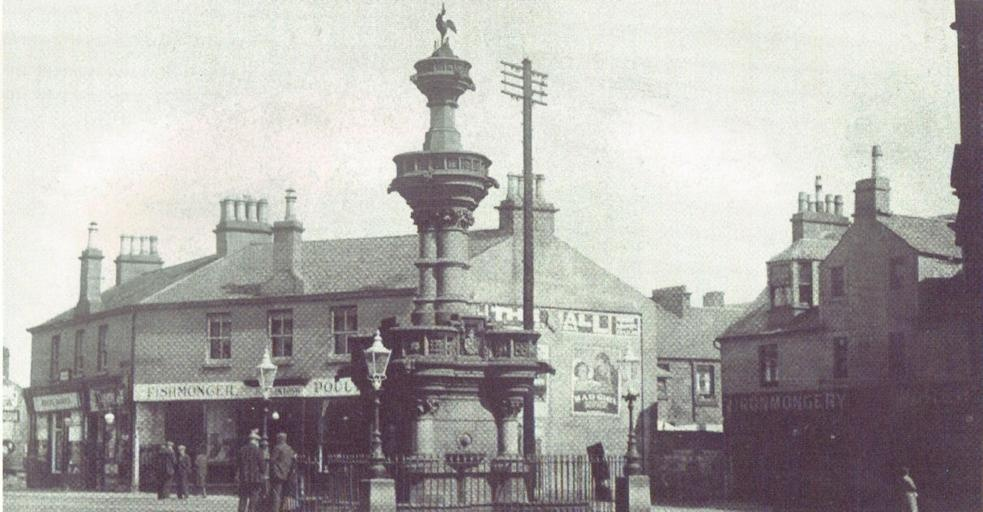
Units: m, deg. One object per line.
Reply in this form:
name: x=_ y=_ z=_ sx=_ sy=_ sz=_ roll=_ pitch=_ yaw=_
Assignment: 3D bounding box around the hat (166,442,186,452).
hat: x=-12.729 y=7.741 z=78.564 sx=0.778 sy=0.268 sz=0.562 roll=2 pitch=-5 yaw=15
